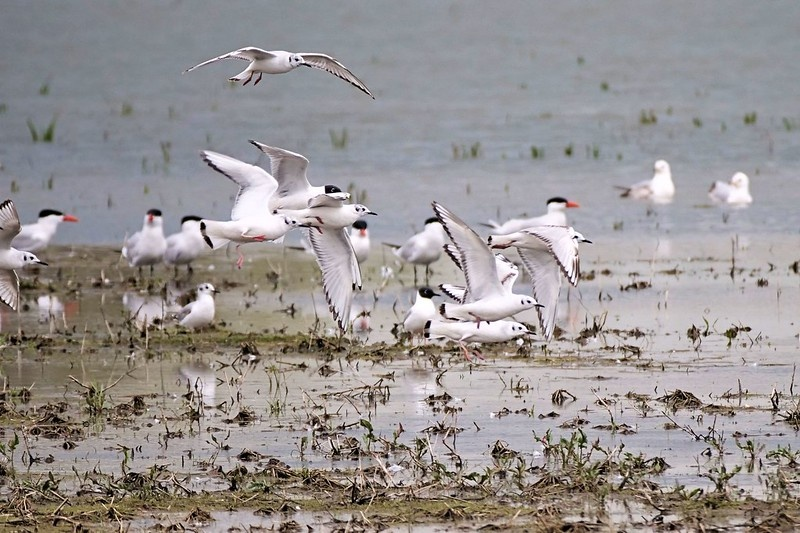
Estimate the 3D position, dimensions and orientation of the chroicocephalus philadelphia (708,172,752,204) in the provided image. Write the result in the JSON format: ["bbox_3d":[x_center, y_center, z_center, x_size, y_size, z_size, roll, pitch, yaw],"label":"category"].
[{"bbox_3d":[7.789,-1.830,33.362,0.737,0.754,1.046,-3,14,-8],"label":"chroicocephalus philadelphia"}]
